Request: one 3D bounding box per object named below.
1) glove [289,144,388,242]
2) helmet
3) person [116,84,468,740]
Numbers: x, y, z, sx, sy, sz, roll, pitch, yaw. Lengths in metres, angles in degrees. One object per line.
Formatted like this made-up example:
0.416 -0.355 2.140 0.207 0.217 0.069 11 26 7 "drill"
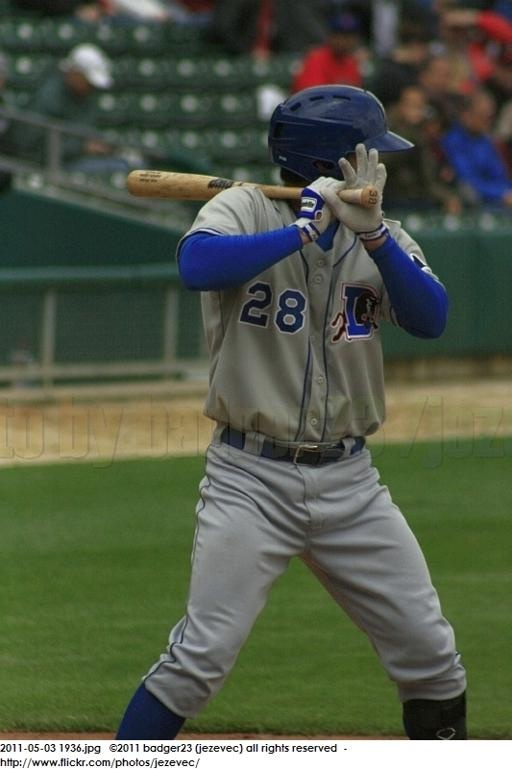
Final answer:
0.214 -0.413 2.711 0.161 0.235 0.067 7 -14 12 "glove"
0.218 -0.565 2.823 0.336 0.176 0.194 -2 15 6 "helmet"
0.111 0.055 2.818 0.785 1.446 0.537 1 13 -6 "person"
